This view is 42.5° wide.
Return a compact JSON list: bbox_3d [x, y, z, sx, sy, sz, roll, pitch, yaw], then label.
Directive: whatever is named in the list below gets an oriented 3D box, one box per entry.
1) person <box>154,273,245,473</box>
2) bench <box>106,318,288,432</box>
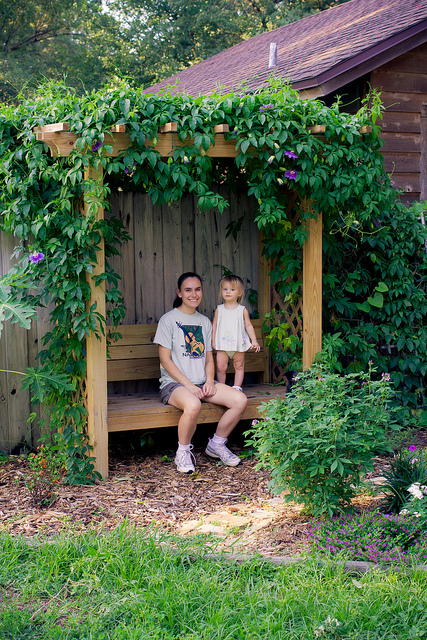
[{"bbox_3d":[-0.128,0.377,4.267,0.661,1.470,0.944,-1,7,-7],"label":"person"},{"bbox_3d":[-0.450,0.521,4.572,1.019,0.504,0.435,-11,34,-31],"label":"bench"}]
